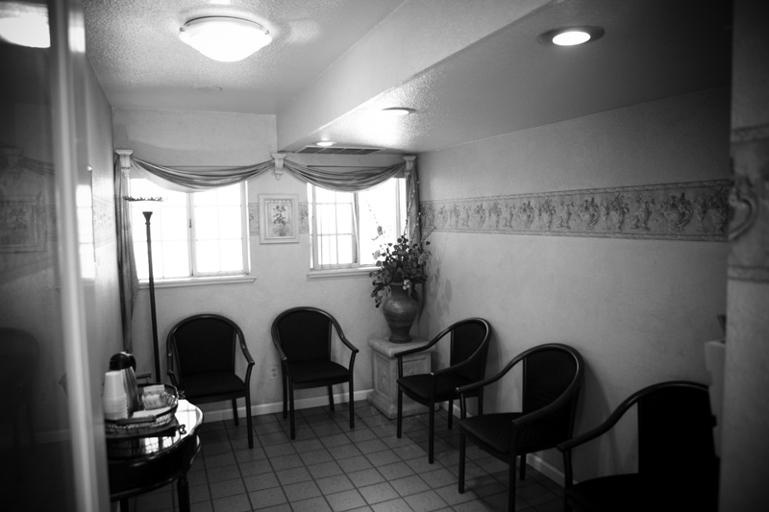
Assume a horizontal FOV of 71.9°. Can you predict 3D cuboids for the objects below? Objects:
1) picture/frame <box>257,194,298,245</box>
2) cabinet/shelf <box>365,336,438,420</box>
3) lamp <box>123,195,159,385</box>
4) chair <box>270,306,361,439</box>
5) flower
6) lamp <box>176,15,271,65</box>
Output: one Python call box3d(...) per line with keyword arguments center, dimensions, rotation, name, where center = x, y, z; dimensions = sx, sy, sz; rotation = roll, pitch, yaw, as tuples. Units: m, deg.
box3d(center=(-1.103, -0.377, 5.447), dimensions=(0.526, 0.627, 0.047), rotation=(-1, 0, -24), name="picture/frame")
box3d(center=(0.147, 1.236, 5.670), dimensions=(0.730, 0.835, 0.716), rotation=(0, 0, -29), name="cabinet/shelf")
box3d(center=(-2.104, 0.331, 4.788), dimensions=(0.285, 1.759, 0.720), rotation=(-5, 10, -26), name="lamp")
box3d(center=(-0.681, 1.107, 5.287), dimensions=(0.779, 1.080, 0.854), rotation=(-3, 9, -16), name="chair")
box3d(center=(0.202, 0.225, 5.628), dimensions=(0.556, 0.656, 0.529), rotation=(0, -5, 12), name="flower")
box3d(center=(-0.933, -1.297, 3.165), dimensions=(0.531, 0.191, 0.281), rotation=(-2, 8, -8), name="lamp")
